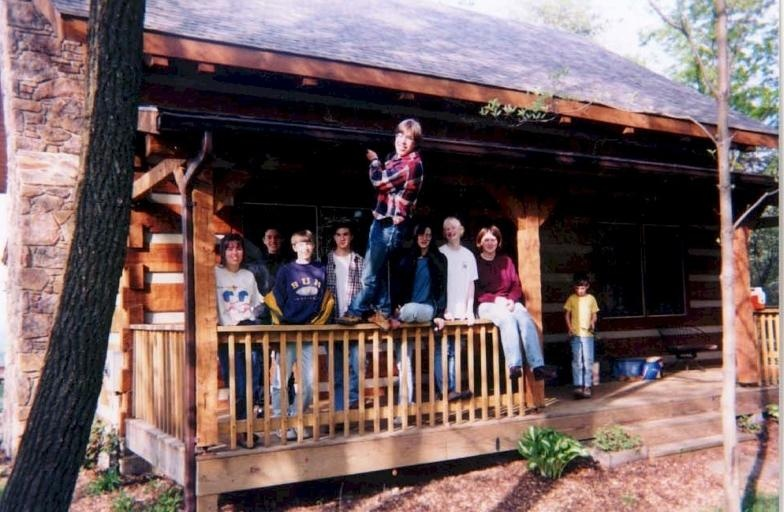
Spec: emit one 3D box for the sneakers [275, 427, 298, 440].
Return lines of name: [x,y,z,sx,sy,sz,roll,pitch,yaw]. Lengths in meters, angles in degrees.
sneakers: [-1.409,2.420,9.805,0.188,0.181,0.256,1,-4,-24]

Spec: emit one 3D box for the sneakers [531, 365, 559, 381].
sneakers: [2.202,1.727,10.341,0.249,0.200,0.413,-1,-3,15]

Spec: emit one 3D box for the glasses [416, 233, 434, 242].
glasses: [0.464,-0.247,10.241,0.158,0.185,0.129,2,-1,-15]

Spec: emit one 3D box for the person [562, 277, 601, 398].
person: [3.142,1.327,12.001,0.494,2.019,0.638,-1,-4,14]

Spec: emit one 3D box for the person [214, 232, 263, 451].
person: [-2.118,1.120,9.999,0.643,2.819,1.523,0,-4,-10]

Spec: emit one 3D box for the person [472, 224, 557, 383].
person: [1.672,0.666,10.461,1.043,2.198,0.616,-2,-4,25]

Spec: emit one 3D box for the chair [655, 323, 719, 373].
chair: [6.044,1.888,14.843,1.040,0.819,1.802,-2,-4,26]

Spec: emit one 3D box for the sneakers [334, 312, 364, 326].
sneakers: [-0.582,0.863,9.642,0.330,0.151,0.151,4,-5,-17]

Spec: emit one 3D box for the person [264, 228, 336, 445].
person: [-1.306,1.090,9.871,0.896,2.788,0.913,1,-4,-22]

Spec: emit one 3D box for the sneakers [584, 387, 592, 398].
sneakers: [3.185,2.231,11.769,0.096,0.177,0.314,-2,-4,27]

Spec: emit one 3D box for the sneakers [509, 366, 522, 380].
sneakers: [1.747,1.666,10.157,0.182,0.164,0.142,5,-10,1]

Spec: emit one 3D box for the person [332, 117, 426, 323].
person: [-0.102,-0.392,9.530,0.815,2.676,0.924,1,-4,-19]

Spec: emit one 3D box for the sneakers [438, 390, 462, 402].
sneakers: [0.822,1.984,10.162,0.318,0.134,0.115,-1,-2,-27]

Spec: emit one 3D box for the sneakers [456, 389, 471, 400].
sneakers: [1.022,1.981,10.198,0.162,0.072,0.133,-10,-12,23]
